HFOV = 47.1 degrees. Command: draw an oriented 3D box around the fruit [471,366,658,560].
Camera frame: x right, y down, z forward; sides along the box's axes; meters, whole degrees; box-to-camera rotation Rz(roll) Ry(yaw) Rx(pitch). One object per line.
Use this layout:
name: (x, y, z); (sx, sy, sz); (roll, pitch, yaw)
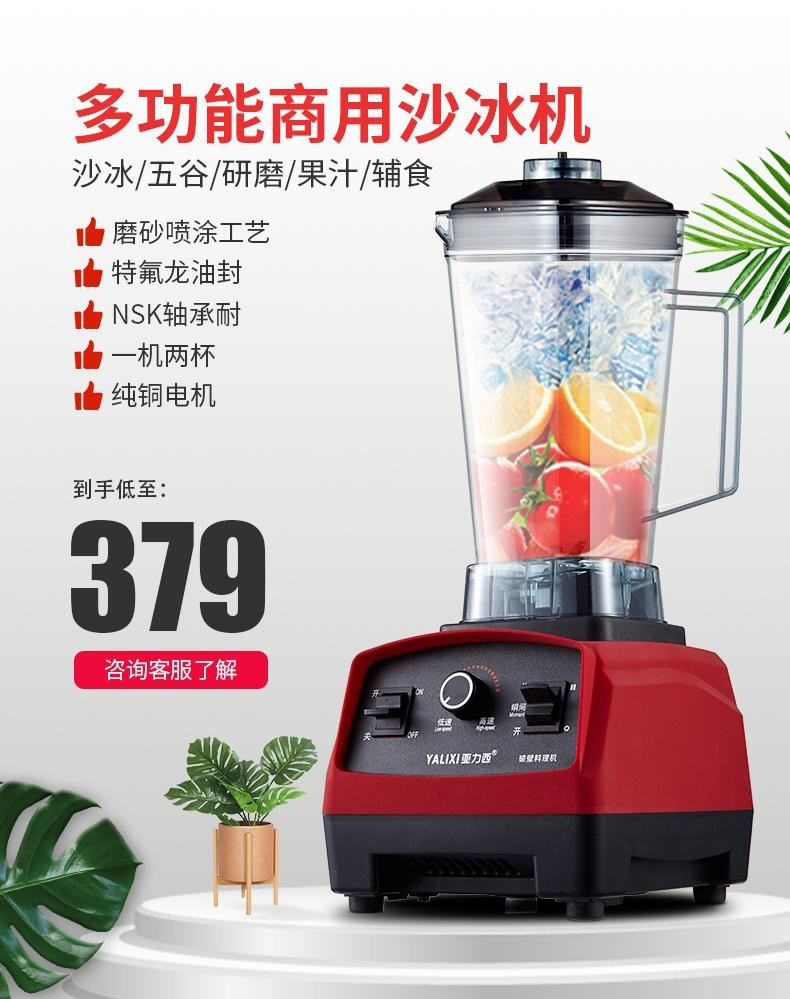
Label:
fruit: (0.140, -0.027, 0.831); (0.173, 0.148, 0.163); (-1, -9, 9)

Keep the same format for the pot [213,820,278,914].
pot: (-0.114, 0.258, 0.656); (0.050, 0.043, 0.043); (-1, -4, 14)
